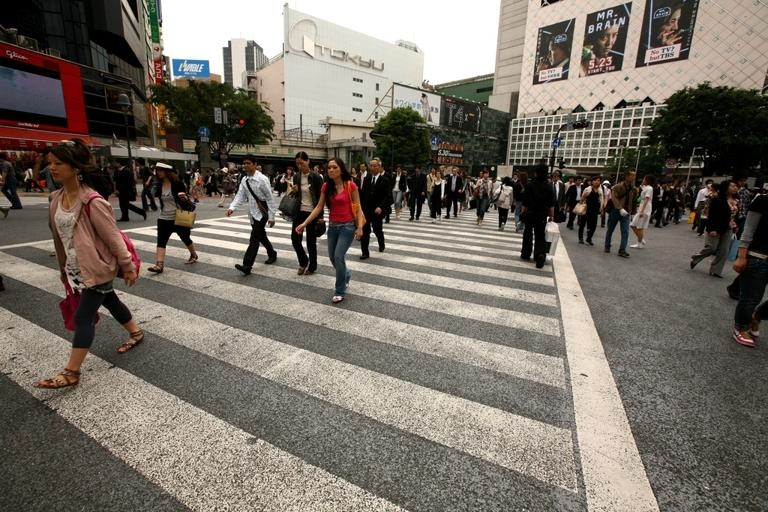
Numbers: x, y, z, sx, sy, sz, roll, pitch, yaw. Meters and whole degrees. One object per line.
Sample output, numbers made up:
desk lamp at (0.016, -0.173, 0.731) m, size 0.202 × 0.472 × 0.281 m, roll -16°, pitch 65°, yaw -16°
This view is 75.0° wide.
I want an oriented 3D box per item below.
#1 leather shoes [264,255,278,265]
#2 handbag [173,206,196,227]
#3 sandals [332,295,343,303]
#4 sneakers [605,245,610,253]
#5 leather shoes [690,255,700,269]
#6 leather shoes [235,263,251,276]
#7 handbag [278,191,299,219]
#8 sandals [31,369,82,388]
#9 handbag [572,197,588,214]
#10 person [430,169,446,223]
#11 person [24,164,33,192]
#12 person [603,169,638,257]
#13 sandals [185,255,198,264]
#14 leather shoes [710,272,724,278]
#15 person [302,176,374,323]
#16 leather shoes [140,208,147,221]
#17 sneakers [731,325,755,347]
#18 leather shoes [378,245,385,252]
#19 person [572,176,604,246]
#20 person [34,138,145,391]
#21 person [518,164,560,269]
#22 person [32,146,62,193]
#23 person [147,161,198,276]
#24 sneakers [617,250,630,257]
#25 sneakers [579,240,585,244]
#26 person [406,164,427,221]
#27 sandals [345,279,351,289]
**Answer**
leather shoes at (-2.326, 0.086, 10.342) m, size 0.168 × 0.225 × 0.513 m, roll 0°, pitch 1°, yaw -2°
handbag at (-3.924, -0.778, 9.828) m, size 0.402 × 0.446 × 0.168 m, roll 4°, pitch -1°, yaw -16°
sandals at (-0.771, 0.701, 8.371) m, size 0.203 × 0.102 × 0.219 m, roll 1°, pitch 16°, yaw -7°
sneakers at (5.688, -0.175, 12.767) m, size 0.127 × 0.149 × 0.127 m, roll -19°, pitch 0°, yaw -40°
leather shoes at (6.868, 0.152, 11.080) m, size 0.170 × 0.480 × 0.142 m, roll 4°, pitch 44°, yaw 31°
leather shoes at (-2.657, 0.236, 9.495) m, size 0.263 × 0.185 × 0.285 m, roll 1°, pitch 16°, yaw -6°
handbag at (-1.844, -0.955, 9.687) m, size 0.391 × 0.550 × 0.255 m, roll 0°, pitch 16°, yaw -8°
sandals at (-4.094, 1.537, 6.320) m, size 0.218 × 0.188 × 0.426 m, roll 13°, pitch 5°, yaw 44°
handbag at (5.519, -1.367, 14.087) m, size 0.343 × 0.423 × 0.433 m, roll 17°, pitch 21°, yaw 42°
person at (1.887, -2.156, 17.667) m, size 0.474 × 1.844 × 1.084 m, roll 4°, pitch 16°, yaw 6°
person at (-17.314, -3.715, 24.490) m, size 0.365 × 1.243 × 1.491 m, roll -8°, pitch 19°, yaw -34°
person at (5.872, -1.055, 12.426) m, size 0.671 × 2.124 × 1.087 m, roll 9°, pitch 17°, yaw 23°
sandals at (-3.909, 0.075, 10.208) m, size 0.165 × 0.204 × 0.499 m, roll -3°, pitch 2°, yaw -22°
leather shoes at (7.011, 0.411, 10.594) m, size 0.302 × 0.094 × 0.120 m, roll 19°, pitch -3°, yaw 39°
person at (-0.812, -0.485, 8.595) m, size 0.759 × 2.256 × 1.223 m, roll -8°, pitch 19°, yaw -32°
leather shoes at (-7.411, -1.261, 15.445) m, size 0.190 × 0.482 × 0.138 m, roll 20°, pitch 35°, yaw 19°
sneakers at (5.420, 1.237, 7.560) m, size 0.165 × 0.178 × 0.403 m, roll -4°, pitch -3°, yaw 16°
leather shoes at (-0.040, -0.150, 11.637) m, size 0.125 × 0.116 × 0.139 m, roll -1°, pitch -3°, yaw 42°
person at (5.810, -1.223, 14.072) m, size 0.628 × 1.947 × 0.594 m, roll 8°, pitch 7°, yaw 4°
person at (-3.820, 0.056, 6.473) m, size 1.130 × 2.971 × 0.972 m, roll -2°, pitch 16°, yaw -16°
person at (3.369, -0.899, 10.870) m, size 0.626 × 2.117 × 1.056 m, roll -1°, pitch 16°, yaw -12°
person at (-9.797, -2.465, 14.587) m, size 0.410 × 1.261 × 0.511 m, roll -11°, pitch -23°, yaw -15°
person at (-4.231, -0.825, 9.966) m, size 0.890 × 2.032 × 1.568 m, roll -4°, pitch 17°, yaw -21°
sneakers at (5.871, -0.058, 12.259) m, size 0.254 × 0.139 × 0.347 m, roll 9°, pitch 17°, yaw 22°
sneakers at (5.581, -0.398, 14.178) m, size 0.112 × 0.057 × 0.166 m, roll 23°, pitch -13°, yaw -38°
person at (1.161, -2.235, 17.597) m, size 0.725 × 1.882 × 0.607 m, roll 7°, pitch 15°, yaw 21°
sandals at (-0.638, 0.490, 8.765) m, size 0.137 × 0.184 × 0.458 m, roll -1°, pitch -7°, yaw -4°
